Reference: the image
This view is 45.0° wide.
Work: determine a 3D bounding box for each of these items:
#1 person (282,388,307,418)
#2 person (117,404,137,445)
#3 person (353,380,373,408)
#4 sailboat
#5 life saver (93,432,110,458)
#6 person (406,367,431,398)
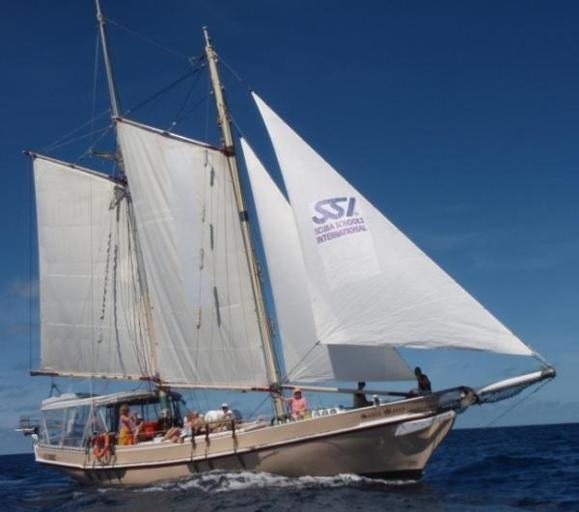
[{"bbox_3d":[0.289,4.957,23.598,0.535,1.019,0.749,-11,-12,-4],"label":"person"},{"bbox_3d":[-6.106,6.310,26.312,0.720,1.503,1.169,-9,-13,-14],"label":"person"},{"bbox_3d":[2.365,4.510,22.996,0.595,0.851,1.599,-13,-12,3],"label":"person"},{"bbox_3d":[-1.418,2.581,25.163,20.347,18.990,4.727,-10,-13,29],"label":"sailboat"},{"bbox_3d":[-6.957,7.011,26.041,0.895,0.856,0.243,-26,-24,38],"label":"life saver"},{"bbox_3d":[4.252,4.085,22.852,0.771,0.900,0.891,-21,-15,35],"label":"person"}]
